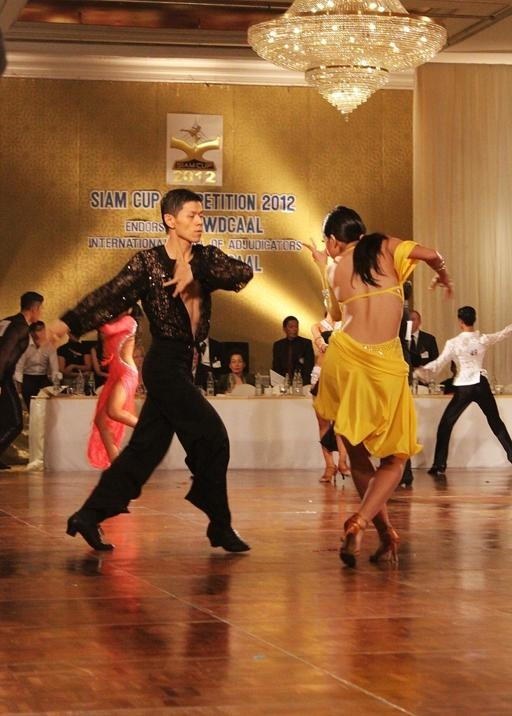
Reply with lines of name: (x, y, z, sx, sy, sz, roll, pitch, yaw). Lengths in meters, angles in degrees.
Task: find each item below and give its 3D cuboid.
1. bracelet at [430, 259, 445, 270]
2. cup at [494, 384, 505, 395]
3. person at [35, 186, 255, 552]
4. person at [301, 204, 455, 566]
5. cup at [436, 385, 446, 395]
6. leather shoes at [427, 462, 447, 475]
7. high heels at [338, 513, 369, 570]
bracelet: (0.789, -0.400, 3.007, 0.058, 0.042, 0.043, -28, 19, -19)
cup: (2.937, 0.380, 8.465, 0.106, 0.099, 0.113, 0, -8, 0)
person: (-0.505, 0.070, 3.114, 1.067, 1.560, 0.602, -3, 1, -33)
person: (0.533, 0.126, 3.064, 0.535, 1.625, 0.643, -1, 5, 2)
cup: (2.180, 0.368, 8.274, 0.091, 0.094, 0.109, 1, -11, 1)
leather shoes: (1.945, 1.175, 7.498, 0.177, 0.113, 0.305, 1, 2, 7)
high heels: (0.392, 0.742, 2.882, 0.095, 0.227, 0.098, -6, -33, 34)
